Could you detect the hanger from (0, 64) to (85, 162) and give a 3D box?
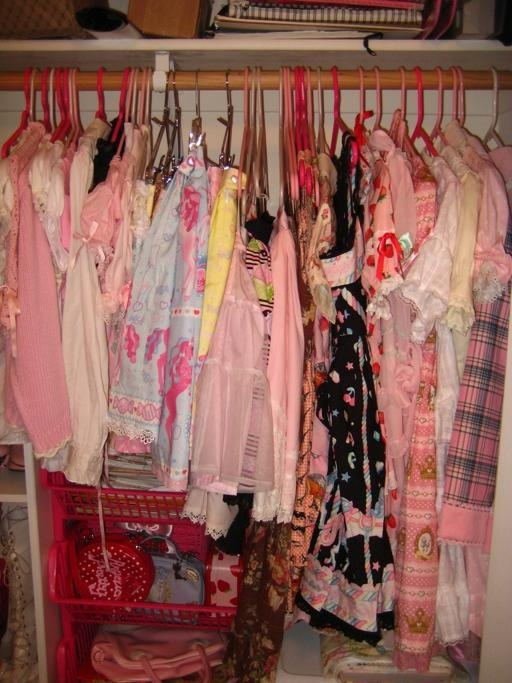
[{"bbox_3d":[-0.441,-0.458,1.174,0.145,0.170,0.488,-4,16,-16],"label":"hanger"}]

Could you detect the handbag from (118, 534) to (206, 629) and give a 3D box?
[{"bbox_3d":[-0.188,0.522,1.230,0.175,0.163,0.066,2,22,13],"label":"handbag"}]

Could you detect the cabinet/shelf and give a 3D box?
[{"bbox_3d":[-0.002,0.031,1.274,1.063,1.294,0.708,4,14,16],"label":"cabinet/shelf"}]

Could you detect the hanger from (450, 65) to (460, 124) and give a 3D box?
[{"bbox_3d":[0.383,-0.472,1.086,0.019,0.091,0.163,4,15,18],"label":"hanger"}]

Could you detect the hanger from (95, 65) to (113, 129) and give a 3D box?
[{"bbox_3d":[-0.303,-0.475,1.099,0.023,0.101,0.120,-3,14,-14],"label":"hanger"}]
